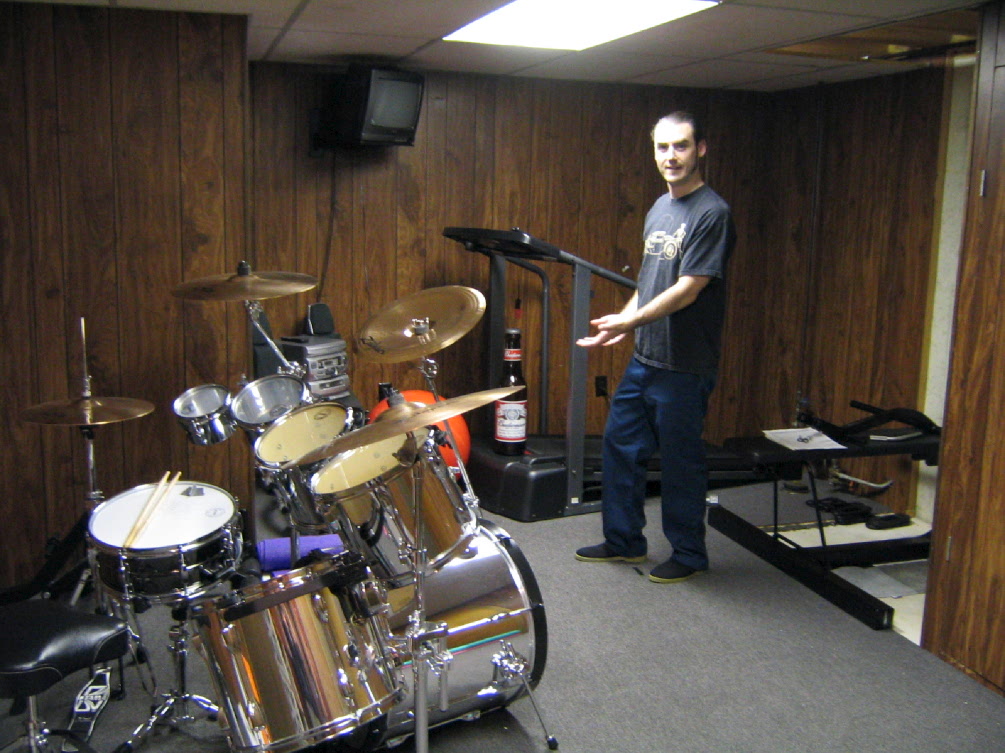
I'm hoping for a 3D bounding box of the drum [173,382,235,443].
[{"bbox_3d":[-1.109,0.160,3.014,0.178,0.138,0.186,12,35,-9],"label":"drum"}]

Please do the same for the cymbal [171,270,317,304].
[{"bbox_3d":[-1.056,-0.371,3.294,0.467,0.144,0.351,1,13,-32],"label":"cymbal"}]

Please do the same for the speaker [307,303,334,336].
[{"bbox_3d":[-1.017,-0.323,4.519,0.140,0.191,0.042,1,3,-34],"label":"speaker"}]

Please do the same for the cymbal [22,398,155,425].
[{"bbox_3d":[-1.520,0.129,2.999,0.215,0.046,0.211,-1,14,-20],"label":"cymbal"}]
